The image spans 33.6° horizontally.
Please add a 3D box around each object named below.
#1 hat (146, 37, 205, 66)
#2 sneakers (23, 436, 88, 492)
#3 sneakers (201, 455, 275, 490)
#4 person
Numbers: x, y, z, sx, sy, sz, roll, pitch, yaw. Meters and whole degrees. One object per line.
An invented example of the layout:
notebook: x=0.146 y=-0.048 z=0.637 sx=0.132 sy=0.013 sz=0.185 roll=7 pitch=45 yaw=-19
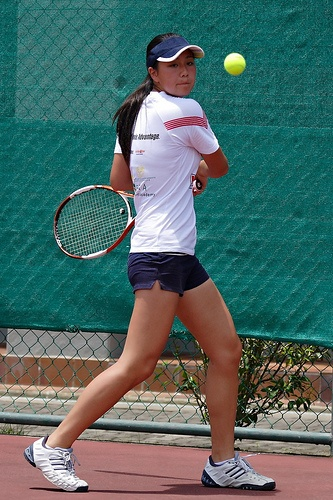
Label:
hat: x=0.028 y=-0.631 z=1.753 sx=0.114 sy=0.053 sz=0.156 roll=-8 pitch=-7 yaw=-41
sneakers: x=-0.333 y=0.658 z=1.681 sx=0.197 sy=0.165 sz=0.127 roll=6 pitch=-15 yaw=-10
sneakers: x=0.230 y=0.750 z=1.880 sx=0.303 sy=0.118 sz=0.098 roll=0 pitch=-14 yaw=9
person: x=0.034 y=0.042 z=1.857 sx=0.573 sy=1.476 sz=0.489 roll=18 pitch=-20 yaw=-39
